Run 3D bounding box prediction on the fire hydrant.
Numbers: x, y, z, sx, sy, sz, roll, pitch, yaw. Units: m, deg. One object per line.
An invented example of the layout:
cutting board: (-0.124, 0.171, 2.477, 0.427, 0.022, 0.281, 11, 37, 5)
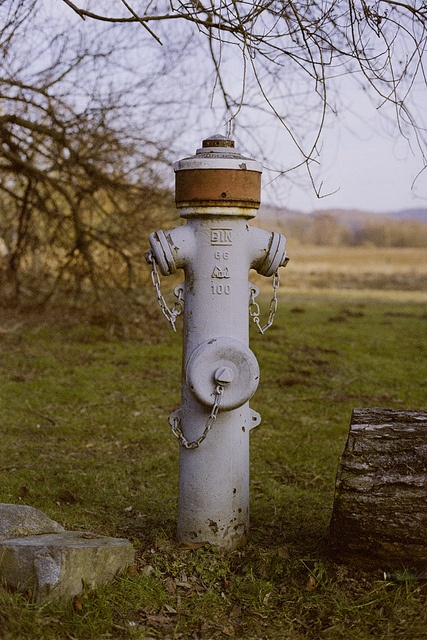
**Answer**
fire hydrant: (-0.008, 0.127, 7.057, 0.708, 2.242, 0.532, 4, 9, 6)
